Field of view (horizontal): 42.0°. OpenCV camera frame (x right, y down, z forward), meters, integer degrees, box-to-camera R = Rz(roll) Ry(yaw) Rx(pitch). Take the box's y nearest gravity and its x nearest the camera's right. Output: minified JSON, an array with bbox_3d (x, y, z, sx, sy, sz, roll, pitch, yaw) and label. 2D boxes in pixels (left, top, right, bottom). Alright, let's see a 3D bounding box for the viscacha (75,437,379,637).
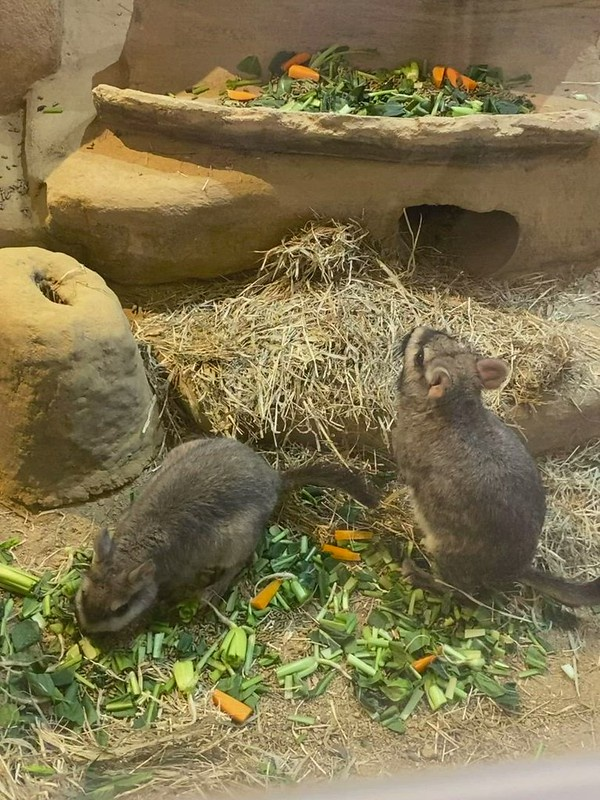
[{"bbox_3d":[-0.373,0.493,3.183,0.679,0.978,0.438,46,0,5],"label":"viscacha"}]
